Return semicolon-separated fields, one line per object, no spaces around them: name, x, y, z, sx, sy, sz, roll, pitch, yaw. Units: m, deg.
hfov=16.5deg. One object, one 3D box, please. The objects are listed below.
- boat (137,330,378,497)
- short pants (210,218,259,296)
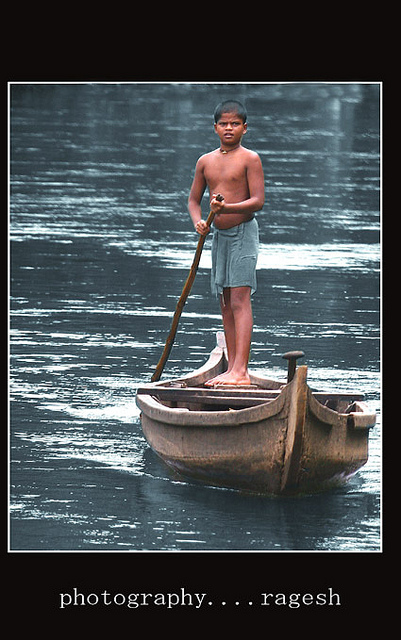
boat;0.287;0.505;7.900;0.916;0.946;1.434;-10;17;-35
short pants;0.198;-0.375;8.336;0.279;0.475;0.247;1;13;3
